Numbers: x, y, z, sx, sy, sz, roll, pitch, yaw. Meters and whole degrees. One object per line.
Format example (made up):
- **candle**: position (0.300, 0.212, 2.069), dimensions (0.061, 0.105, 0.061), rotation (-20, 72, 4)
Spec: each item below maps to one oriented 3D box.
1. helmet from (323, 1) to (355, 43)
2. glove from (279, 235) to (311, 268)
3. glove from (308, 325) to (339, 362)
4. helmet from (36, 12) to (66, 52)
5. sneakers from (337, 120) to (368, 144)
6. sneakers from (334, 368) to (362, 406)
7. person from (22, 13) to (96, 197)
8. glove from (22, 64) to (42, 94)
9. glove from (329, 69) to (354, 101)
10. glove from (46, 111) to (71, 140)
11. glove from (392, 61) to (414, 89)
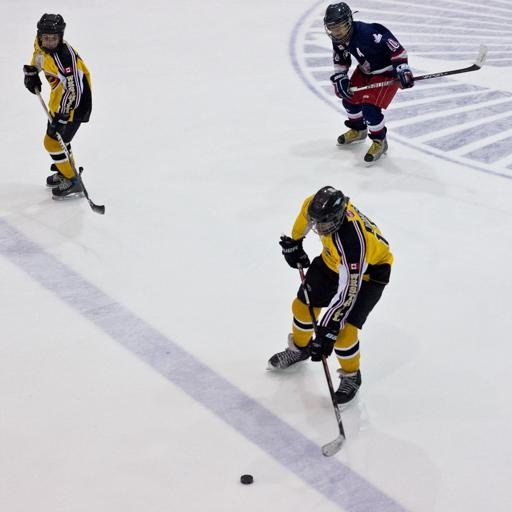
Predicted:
- **helmet**: position (0.647, -1.821, 4.976), dimensions (0.212, 0.308, 0.288), rotation (0, 26, 7)
- **glove**: position (0.189, -0.010, 3.428), dimensions (0.072, 0.189, 0.145), rotation (-46, 22, -29)
- **glove**: position (0.326, 0.419, 3.100), dimensions (0.136, 0.164, 0.070), rotation (31, 18, 20)
- **helmet**: position (-1.385, -1.557, 4.374), dimensions (0.210, 0.243, 0.244), rotation (2, 49, -13)
- **sneakers**: position (0.876, -1.109, 5.710), dimensions (0.298, 0.185, 0.097), rotation (-19, 48, 0)
- **sneakers**: position (0.485, 0.665, 3.291), dimensions (0.084, 0.096, 0.243), rotation (5, 29, 32)
- **person**: position (-1.477, -1.096, 4.696), dimensions (0.483, 1.306, 0.468), rotation (-3, 26, 2)
- **glove**: position (-1.730, -1.352, 4.844), dimensions (0.143, 0.199, 0.084), rotation (-18, 22, -29)
- **glove**: position (0.726, -1.460, 5.398), dimensions (0.158, 0.085, 0.233), rotation (-12, 56, 5)
- **glove**: position (-1.456, -0.963, 4.615), dimensions (0.171, 0.164, 0.196), rotation (0, 44, -20)
- **glove**: position (1.169, -1.431, 5.056), dimensions (0.148, 0.091, 0.240), rotation (-5, 64, -3)
